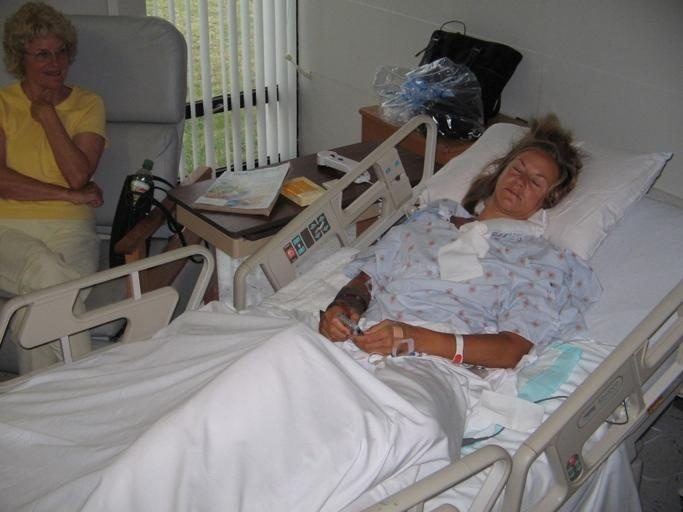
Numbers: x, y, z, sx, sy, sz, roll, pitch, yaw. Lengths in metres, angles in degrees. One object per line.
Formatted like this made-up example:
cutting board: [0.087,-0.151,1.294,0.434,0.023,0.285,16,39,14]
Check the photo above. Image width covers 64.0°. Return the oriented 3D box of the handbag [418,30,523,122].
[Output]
handbag: [0.718,-0.964,2.974,0.529,0.518,0.299,28,7,38]

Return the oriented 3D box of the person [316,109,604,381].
person: [0.522,0.051,1.982,0.981,0.390,0.764,-40,41,-19]

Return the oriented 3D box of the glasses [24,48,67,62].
glasses: [-1.295,-0.880,2.378,0.161,0.062,0.064,-4,35,-25]

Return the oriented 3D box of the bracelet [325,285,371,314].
bracelet: [0.031,0.158,1.951,0.116,0.034,0.089,-20,34,-38]

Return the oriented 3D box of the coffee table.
coffee table: [-0.135,-0.115,2.301,0.844,0.398,0.419,-24,44,-22]

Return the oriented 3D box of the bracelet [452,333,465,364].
bracelet: [0.379,0.307,1.766,0.037,0.071,0.054,3,-5,4]

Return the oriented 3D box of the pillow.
pillow: [0.961,-0.254,2.167,0.745,0.227,0.728,25,50,32]
